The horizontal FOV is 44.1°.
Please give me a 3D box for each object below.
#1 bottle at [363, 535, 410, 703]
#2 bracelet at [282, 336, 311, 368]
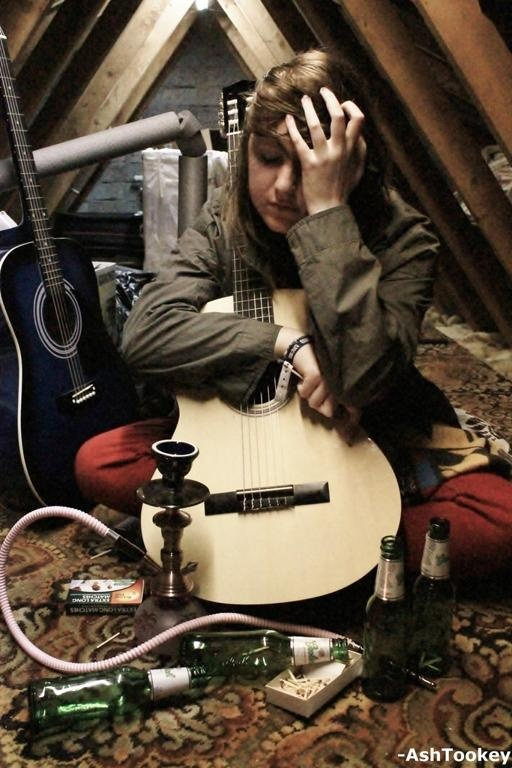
[{"bbox_3d":[0.179,0.301,0.868,0.061,0.259,0.184,3,11,14],"label":"bottle"},{"bbox_3d":[0.066,-0.056,1.050,0.012,0.045,0.046,28,44,30],"label":"bracelet"}]
